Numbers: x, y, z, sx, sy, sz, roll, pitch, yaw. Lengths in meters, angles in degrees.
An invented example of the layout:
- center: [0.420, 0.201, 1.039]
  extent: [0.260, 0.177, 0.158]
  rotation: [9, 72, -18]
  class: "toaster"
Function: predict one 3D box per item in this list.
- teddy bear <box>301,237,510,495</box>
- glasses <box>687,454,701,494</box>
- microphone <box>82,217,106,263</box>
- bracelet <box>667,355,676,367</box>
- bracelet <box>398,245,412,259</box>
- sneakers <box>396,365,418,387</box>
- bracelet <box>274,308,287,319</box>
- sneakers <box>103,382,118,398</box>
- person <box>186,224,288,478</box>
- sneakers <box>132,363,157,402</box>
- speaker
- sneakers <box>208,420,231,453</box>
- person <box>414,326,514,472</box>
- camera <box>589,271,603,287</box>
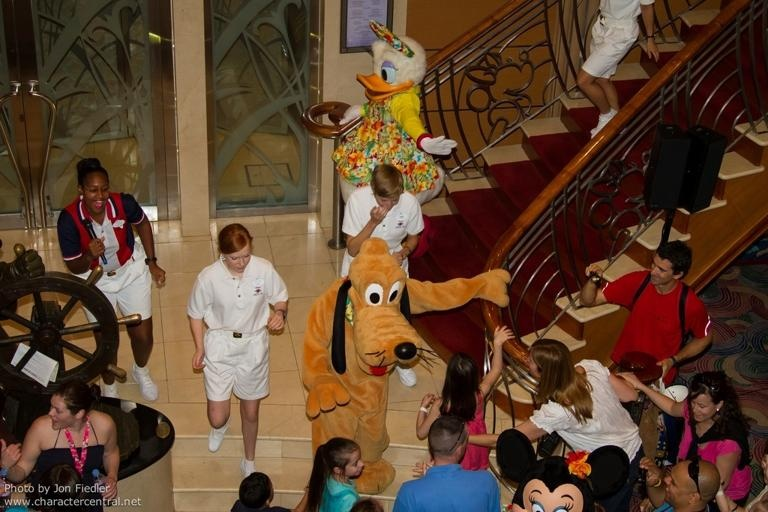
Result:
- center: [0.066, 1.001, 5.114]
  extent: [1.803, 2.134, 1.038]
  rotation: [-4, 21, -28]
  class: "teddy bear"
- center: [2.073, 1.467, 4.177]
  extent: [0.041, 0.168, 0.154]
  rotation: [-6, -2, 5]
  class: "glasses"
- center: [-2.438, -0.144, 5.193]
  extent: [0.083, 0.361, 0.083]
  rotation: [-26, -5, 40]
  class: "microphone"
- center: [2.355, 0.848, 5.088]
  extent: [0.065, 0.068, 0.018]
  rotation: [-23, -4, -15]
  class: "bracelet"
- center: [0.184, -0.023, 5.455]
  extent: [0.083, 0.130, 0.046]
  rotation: [8, -23, 2]
  class: "bracelet"
- center: [0.228, 1.161, 6.255]
  extent: [0.151, 0.108, 0.238]
  rotation: [-23, 54, -28]
  class: "sneakers"
- center: [-0.841, 0.459, 5.040]
  extent: [0.076, 0.024, 0.081]
  rotation: [32, -5, 10]
  class: "bracelet"
- center: [-2.574, 1.248, 5.820]
  extent: [0.091, 0.126, 0.276]
  rotation: [-4, 13, -30]
  class: "sneakers"
- center: [-1.219, 0.824, 5.074]
  extent: [0.720, 2.087, 0.827]
  rotation: [3, -3, -39]
  class: "person"
- center: [-2.310, 1.222, 5.964]
  extent: [0.113, 0.305, 0.166]
  rotation: [-30, -7, -39]
  class: "sneakers"
- center: [2.449, -0.677, 5.029]
  extent: [0.606, 0.660, 0.384]
  rotation: [7, 27, -8]
  class: "speaker"
- center: [-1.496, 1.650, 5.658]
  extent: [0.130, 0.391, 0.150]
  rotation: [13, -18, -8]
  class: "sneakers"
- center: [0.618, 1.321, 4.807]
  extent: [0.746, 1.543, 0.430]
  rotation: [-9, 26, -18]
  class: "person"
- center: [1.796, 0.186, 5.226]
  extent: [0.095, 0.129, 0.114]
  rotation: [-12, -11, -4]
  class: "camera"
